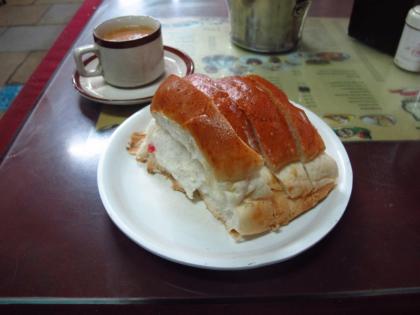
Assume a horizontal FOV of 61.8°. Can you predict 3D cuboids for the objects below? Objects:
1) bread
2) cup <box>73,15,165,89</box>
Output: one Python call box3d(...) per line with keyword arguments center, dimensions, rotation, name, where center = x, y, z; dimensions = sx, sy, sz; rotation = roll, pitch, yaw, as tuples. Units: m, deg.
box3d(center=(0.051, 0.058, 1.133), dimensions=(0.476, 0.327, 0.609), rotation=(-20, 51, -32), name="bread")
box3d(center=(-0.352, -0.404, 1.482), dimensions=(0.351, 0.240, 0.260), rotation=(-20, 51, -21), name="cup")
